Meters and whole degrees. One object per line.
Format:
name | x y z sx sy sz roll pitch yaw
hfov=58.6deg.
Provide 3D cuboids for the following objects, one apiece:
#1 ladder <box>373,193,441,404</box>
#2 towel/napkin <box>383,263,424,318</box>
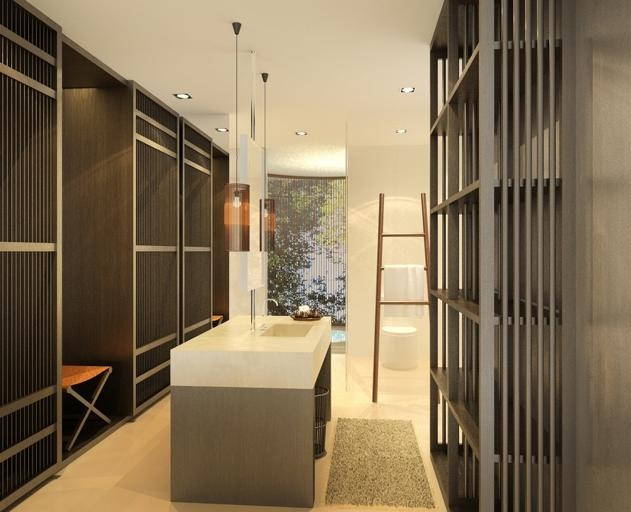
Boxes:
ladder | 0.818 0.168 5.278 0.609 2.180 0.222 0 -20 7
towel/napkin | 0.861 0.264 5.436 0.352 0.497 0.059 1 40 12
